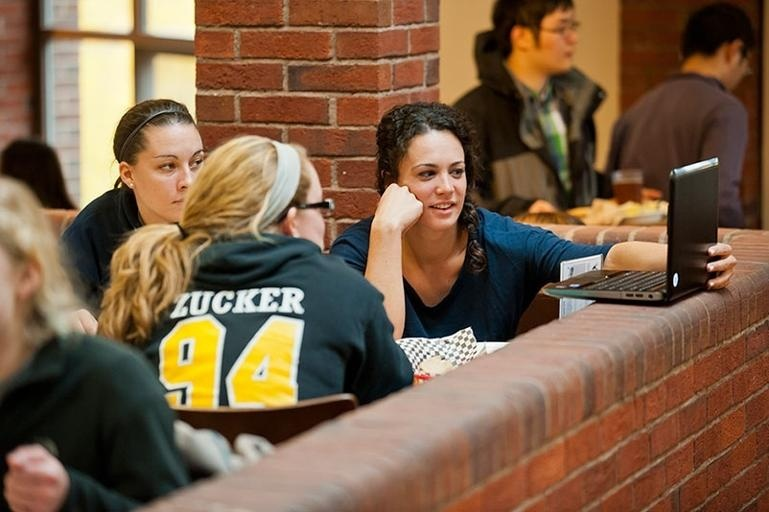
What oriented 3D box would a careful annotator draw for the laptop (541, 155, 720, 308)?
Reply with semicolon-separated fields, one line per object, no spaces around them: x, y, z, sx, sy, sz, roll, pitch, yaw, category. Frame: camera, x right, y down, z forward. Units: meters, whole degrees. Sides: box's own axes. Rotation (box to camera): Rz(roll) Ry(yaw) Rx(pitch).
0.922;-0.094;2.799;0.493;0.458;0.625;1;12;34;laptop

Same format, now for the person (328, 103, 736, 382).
0.751;0.004;3.634;1.129;1.678;1.484;-6;0;40;person
